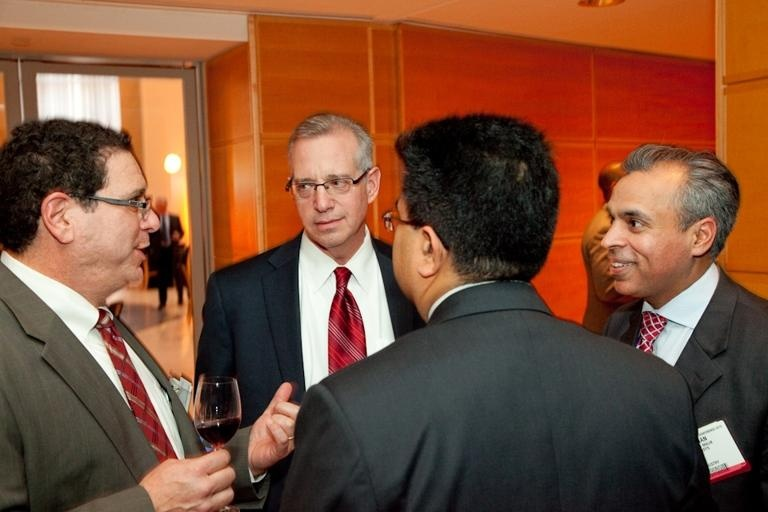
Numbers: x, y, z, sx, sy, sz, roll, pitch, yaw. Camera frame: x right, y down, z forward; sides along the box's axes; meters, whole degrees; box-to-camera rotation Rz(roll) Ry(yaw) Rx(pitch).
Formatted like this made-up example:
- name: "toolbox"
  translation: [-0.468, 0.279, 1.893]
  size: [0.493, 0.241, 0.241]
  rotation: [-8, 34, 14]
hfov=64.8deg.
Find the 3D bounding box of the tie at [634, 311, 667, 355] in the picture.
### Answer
- name: "tie"
  translation: [1.188, 0.349, 2.689]
  size: [0.045, 0.171, 0.125]
  rotation: [25, 18, -44]
